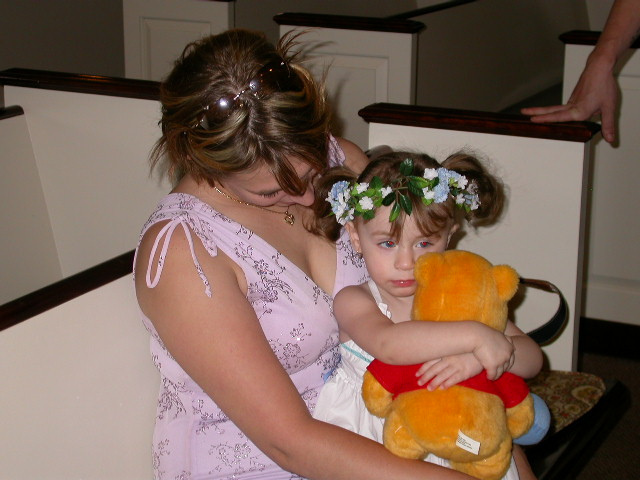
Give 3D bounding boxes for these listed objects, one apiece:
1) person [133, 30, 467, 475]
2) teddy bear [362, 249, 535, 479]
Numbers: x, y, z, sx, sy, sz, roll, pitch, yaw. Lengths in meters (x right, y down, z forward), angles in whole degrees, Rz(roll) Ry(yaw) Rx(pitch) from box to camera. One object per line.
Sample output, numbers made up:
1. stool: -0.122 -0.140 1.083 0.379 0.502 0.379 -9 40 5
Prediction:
1. person: -0.120 -0.052 1.769 0.999 1.414 1.066 8 19 20
2. teddy bear: 0.290 0.302 1.207 0.388 0.568 0.305 9 -12 16
